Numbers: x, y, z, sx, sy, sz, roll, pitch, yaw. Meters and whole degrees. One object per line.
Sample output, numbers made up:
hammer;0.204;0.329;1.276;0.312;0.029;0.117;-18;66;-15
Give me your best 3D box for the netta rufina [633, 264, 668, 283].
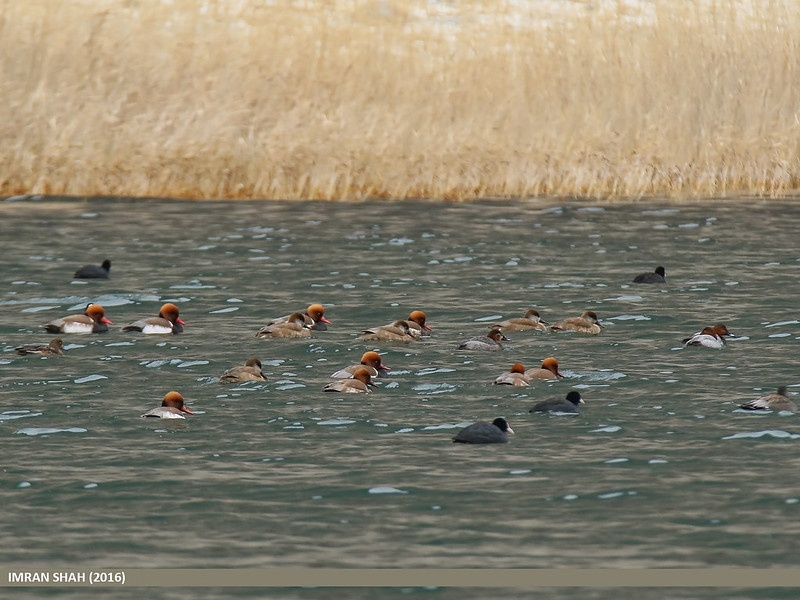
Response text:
netta rufina;6.377;-0.576;27.946;0.795;0.520;0.700;11;49;10
